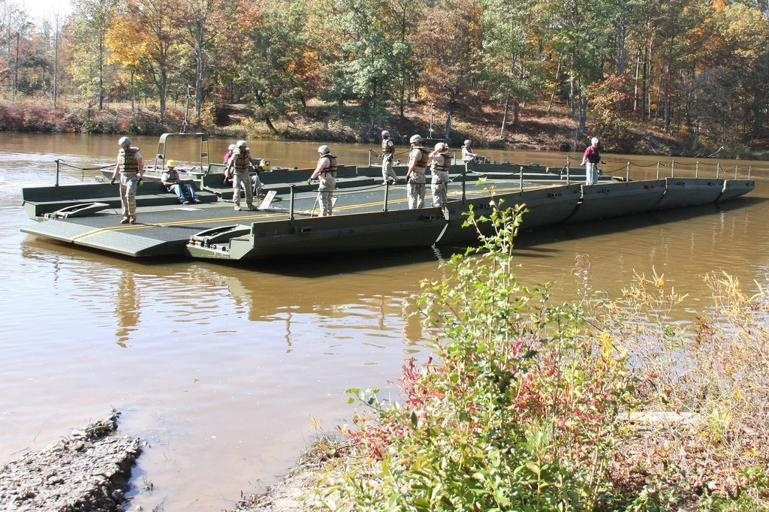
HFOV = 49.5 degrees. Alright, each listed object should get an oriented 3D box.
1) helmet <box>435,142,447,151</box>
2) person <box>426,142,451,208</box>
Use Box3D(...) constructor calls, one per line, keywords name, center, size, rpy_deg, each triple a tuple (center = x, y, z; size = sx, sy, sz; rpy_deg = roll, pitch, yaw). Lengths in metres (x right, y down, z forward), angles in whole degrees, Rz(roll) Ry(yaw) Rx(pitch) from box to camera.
Box3D(name="helmet", center=(1.364, -2.663, 19.985), size=(0.242, 0.129, 0.284), rpy_deg=(0, 9, 4))
Box3D(name="person", center=(1.360, -2.043, 20.499), size=(0.501, 1.581, 1.286), rpy_deg=(1, 7, 2))
